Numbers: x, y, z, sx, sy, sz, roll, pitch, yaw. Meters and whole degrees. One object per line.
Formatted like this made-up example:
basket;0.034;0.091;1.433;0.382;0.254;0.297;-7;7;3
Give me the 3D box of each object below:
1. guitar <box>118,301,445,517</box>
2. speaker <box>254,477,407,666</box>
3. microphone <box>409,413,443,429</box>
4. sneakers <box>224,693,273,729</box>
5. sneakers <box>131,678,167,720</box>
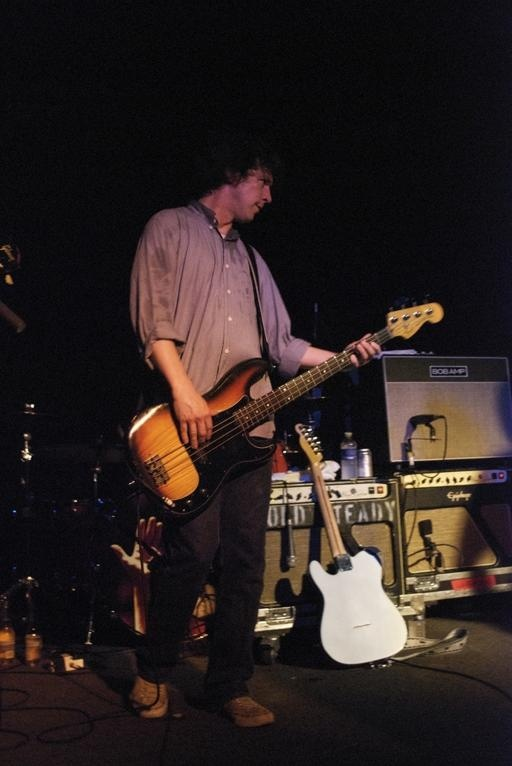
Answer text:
guitar;0.148;0.144;2.867;1.232;0.347;0.130;-31;12;-28
speaker;0.295;0.775;3.385;0.779;0.729;0.772;-4;8;-12
microphone;0.833;0.184;3.474;0.136;0.072;0.034;-3;-42;-1
sneakers;-0.018;1.044;2.246;0.076;0.044;0.129;8;-16;-35
sneakers;-0.348;1.026;2.331;0.146;0.130;0.098;1;-1;-10
